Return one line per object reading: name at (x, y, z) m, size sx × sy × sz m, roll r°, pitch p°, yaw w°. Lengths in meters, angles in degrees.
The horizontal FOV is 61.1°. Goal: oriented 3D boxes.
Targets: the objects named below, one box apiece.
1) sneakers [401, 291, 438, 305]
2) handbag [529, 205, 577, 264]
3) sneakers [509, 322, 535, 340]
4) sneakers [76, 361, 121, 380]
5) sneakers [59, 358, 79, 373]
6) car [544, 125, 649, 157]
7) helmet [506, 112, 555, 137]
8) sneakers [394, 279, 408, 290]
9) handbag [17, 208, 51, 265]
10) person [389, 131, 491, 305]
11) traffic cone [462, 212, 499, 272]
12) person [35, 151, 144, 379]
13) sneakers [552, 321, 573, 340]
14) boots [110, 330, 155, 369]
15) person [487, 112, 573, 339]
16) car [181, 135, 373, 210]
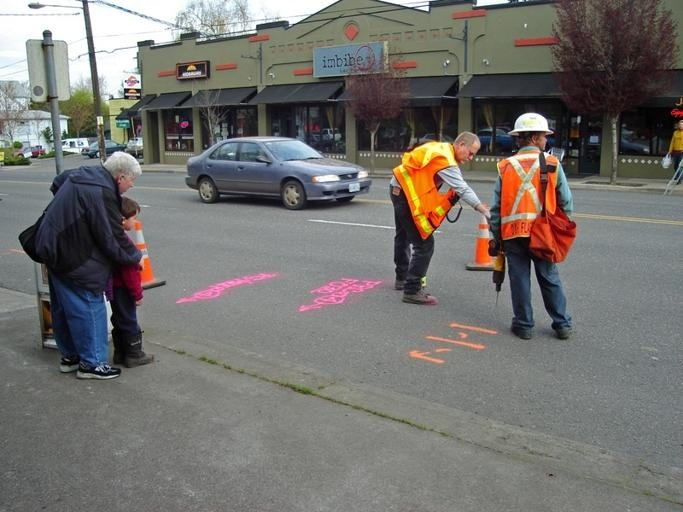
sneakers at (0.940, 0.500, 6.970) m, size 0.397 × 0.206 × 0.158 m, roll -1°, pitch 7°, yaw 6°
handbag at (2.100, -0.194, 5.727) m, size 0.362 × 0.543 × 0.260 m, roll 1°, pitch 4°, yaw -28°
sneakers at (1.837, 0.777, 5.911) m, size 0.095 × 0.124 × 0.271 m, roll -5°, pitch 3°, yaw -13°
sneakers at (-2.029, 0.971, 4.865) m, size 0.347 × 0.165 × 0.153 m, roll 1°, pitch 9°, yaw -21°
sneakers at (-2.329, 0.939, 5.041) m, size 0.078 × 0.102 × 0.221 m, roll 7°, pitch 9°, yaw 34°
car at (10.336, -4.536, 22.354) m, size 2.792 × 1.040 × 1.260 m, roll 6°, pitch 16°, yaw 36°
helmet at (1.908, -1.321, 5.855) m, size 0.433 × 0.213 × 0.455 m, roll 1°, pitch 12°, yaw 24°
sneakers at (0.768, 0.376, 7.447) m, size 0.118 × 0.163 × 0.340 m, roll -1°, pitch -6°, yaw -2°
handbag at (-2.665, -0.140, 5.021) m, size 0.216 × 0.588 × 1.040 m, roll -7°, pitch 14°, yaw -29°
person at (1.076, -0.424, 6.920) m, size 1.065 × 2.008 × 0.630 m, roll 4°, pitch 12°, yaw 22°
traffic cone at (2.107, -0.235, 8.920) m, size 0.712 × 1.095 × 0.780 m, roll -1°, pitch 3°, yaw 3°
person at (-2.080, 0.104, 4.844) m, size 0.808 × 1.852 × 0.439 m, roll -5°, pitch 12°, yaw -22°
sneakers at (2.246, 0.764, 5.894) m, size 0.098 × 0.126 × 0.262 m, roll -15°, pitch -10°, yaw 4°
boots at (-1.877, 0.805, 5.195) m, size 0.259 × 0.326 × 0.332 m, roll 7°, pitch 13°, yaw 29°
person at (1.912, -0.288, 5.828) m, size 0.832 × 2.207 × 0.504 m, roll 2°, pitch 11°, yaw 15°
car at (-1.817, -2.215, 15.443) m, size 4.612 × 1.775 × 1.311 m, roll 8°, pitch 14°, yaw 32°
